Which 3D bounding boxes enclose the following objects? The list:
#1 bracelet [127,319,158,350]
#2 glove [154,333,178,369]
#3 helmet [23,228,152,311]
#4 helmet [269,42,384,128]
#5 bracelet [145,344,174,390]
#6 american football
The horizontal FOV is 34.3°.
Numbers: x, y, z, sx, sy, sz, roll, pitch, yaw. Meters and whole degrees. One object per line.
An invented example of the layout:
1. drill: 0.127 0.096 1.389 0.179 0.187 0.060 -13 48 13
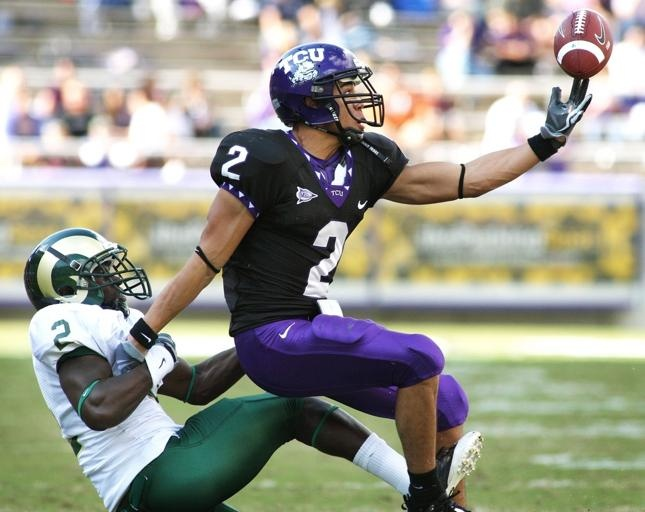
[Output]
1. bracelet: -0.810 0.355 4.745 0.121 0.092 0.120 43 -9 -12
2. glove: -0.721 0.432 4.866 0.079 0.130 0.056 -36 -8 -18
3. helmet: -1.123 0.067 5.072 0.561 0.358 0.368 -2 -3 -4
4. helmet: 0.039 -0.831 5.197 0.521 0.382 0.395 0 -4 16
5. bracelet: -0.749 0.506 4.754 0.140 0.179 0.071 31 -20 -26
6. american football: 1.302 -1.085 5.211 0.254 0.376 0.231 10 -38 4
